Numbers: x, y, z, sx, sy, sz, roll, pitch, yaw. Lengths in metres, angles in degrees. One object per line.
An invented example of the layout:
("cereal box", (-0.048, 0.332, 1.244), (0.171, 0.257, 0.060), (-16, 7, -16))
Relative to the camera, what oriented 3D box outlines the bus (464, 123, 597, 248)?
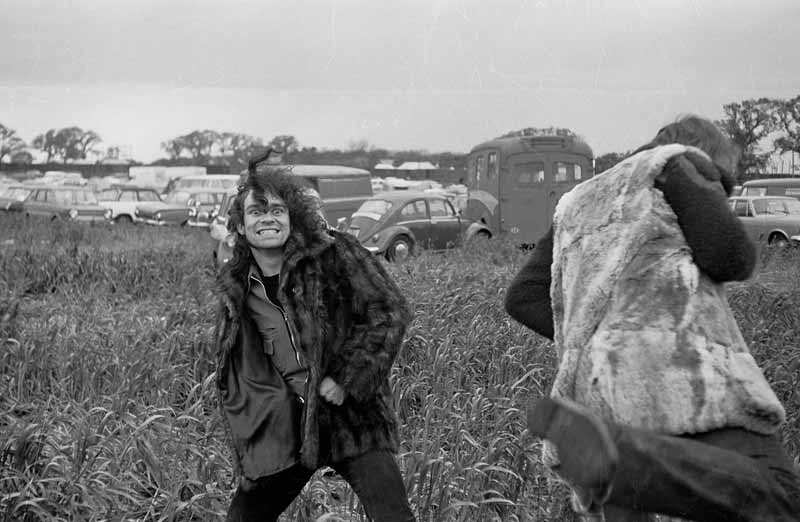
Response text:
("bus", (5.121, -2.201, 22.402), (3.253, 4.045, 6.316), (1, -1, 5))
